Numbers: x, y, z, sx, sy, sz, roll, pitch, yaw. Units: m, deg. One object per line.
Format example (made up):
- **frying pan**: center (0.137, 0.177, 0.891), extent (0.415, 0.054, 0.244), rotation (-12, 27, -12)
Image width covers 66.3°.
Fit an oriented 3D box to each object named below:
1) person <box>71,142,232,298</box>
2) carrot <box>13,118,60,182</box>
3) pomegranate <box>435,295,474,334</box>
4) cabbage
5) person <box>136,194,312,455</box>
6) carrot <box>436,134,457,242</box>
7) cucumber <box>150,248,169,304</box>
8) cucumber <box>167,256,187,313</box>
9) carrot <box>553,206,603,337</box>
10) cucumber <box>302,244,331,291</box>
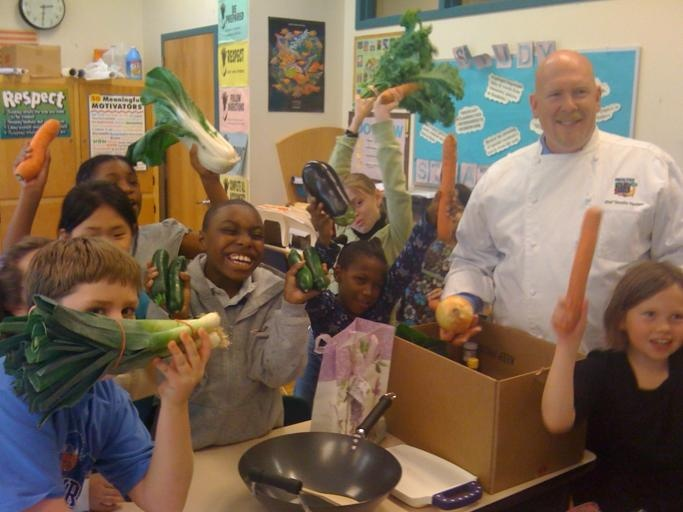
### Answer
- **person**: center (-0.922, -0.266, 2.563), extent (0.534, 0.750, 0.436), rotation (-10, 21, -41)
- **carrot**: center (-1.514, -0.528, 2.616), extent (0.114, 0.401, 0.119), rotation (28, -23, -25)
- **pomegranate**: center (0.425, 0.235, 1.963), extent (0.156, 0.158, 0.157), rotation (0, -2, -22)
- **cabbage**: center (-0.772, -0.673, 2.573), extent (0.529, 0.528, 0.398), rotation (0, 11, -4)
- **person**: center (-0.353, 0.259, 1.856), extent (0.442, 0.960, 0.502), rotation (14, 17, 10)
- **carrot**: center (0.573, -0.327, 2.843), extent (0.106, 0.678, 0.119), rotation (-9, 20, -29)
- **cucumber**: center (-0.593, 0.069, 1.711), extent (0.052, 0.195, 0.059), rotation (-3, -20, 3)
- **cucumber**: center (-0.528, 0.095, 1.725), extent (0.048, 0.178, 0.054), rotation (-5, -22, 17)
- **carrot**: center (0.641, 0.040, 1.403), extent (0.048, 0.349, 0.086), rotation (2, 12, 10)
- **cucumber**: center (-0.106, 0.045, 1.803), extent (0.061, 0.178, 0.059), rotation (-28, -19, 18)
